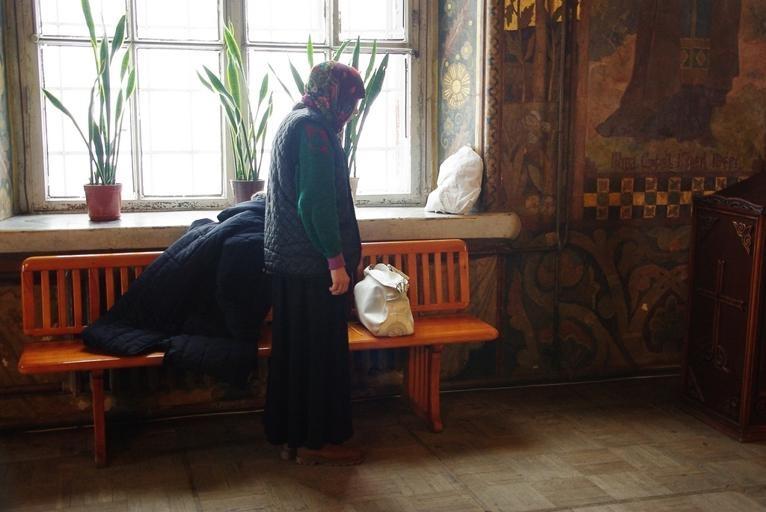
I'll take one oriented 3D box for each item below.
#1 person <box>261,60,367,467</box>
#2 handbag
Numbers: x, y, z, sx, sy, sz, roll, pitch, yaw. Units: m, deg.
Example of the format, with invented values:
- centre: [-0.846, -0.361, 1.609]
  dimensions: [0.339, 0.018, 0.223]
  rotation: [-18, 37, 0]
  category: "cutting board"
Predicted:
- centre: [-0.384, 0.016, 3.415]
  dimensions: [0.628, 2.029, 0.366]
  rotation: [-3, 12, 0]
  category: "person"
- centre: [-0.016, 0.220, 3.866]
  dimensions: [0.347, 0.426, 0.632]
  rotation: [-2, 4, -16]
  category: "handbag"
